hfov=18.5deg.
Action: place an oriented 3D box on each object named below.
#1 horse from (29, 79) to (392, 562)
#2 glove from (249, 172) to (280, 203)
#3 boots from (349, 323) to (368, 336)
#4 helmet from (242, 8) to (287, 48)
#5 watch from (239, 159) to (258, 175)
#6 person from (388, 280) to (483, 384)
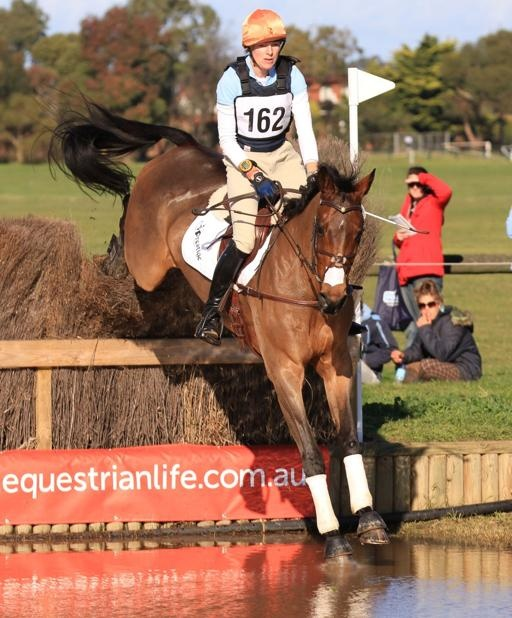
[{"bbox_3d":[-0.335,-0.265,10.044,0.775,2.202,3.912,-9,27,-30],"label":"horse"},{"bbox_3d":[0.046,-0.676,8.988,0.121,0.073,0.187,-28,55,-22],"label":"glove"},{"bbox_3d":[0.597,0.137,9.281,0.073,0.035,0.099,3,-10,-4],"label":"boots"},{"bbox_3d":[0.038,-1.535,9.029,0.251,0.222,0.192,1,13,11],"label":"helmet"},{"bbox_3d":[-0.052,-0.767,9.046,0.070,0.032,0.091,-35,36,-10],"label":"watch"},{"bbox_3d":[1.440,0.198,12.428,0.419,0.855,0.662,-14,18,-42],"label":"person"}]
